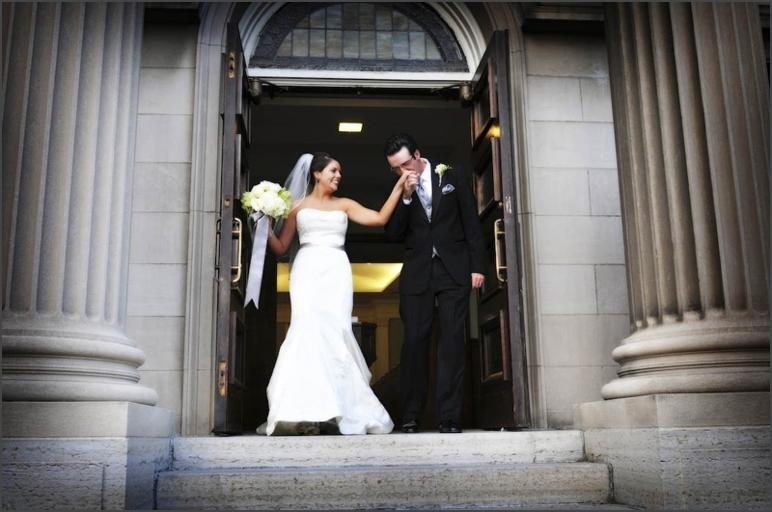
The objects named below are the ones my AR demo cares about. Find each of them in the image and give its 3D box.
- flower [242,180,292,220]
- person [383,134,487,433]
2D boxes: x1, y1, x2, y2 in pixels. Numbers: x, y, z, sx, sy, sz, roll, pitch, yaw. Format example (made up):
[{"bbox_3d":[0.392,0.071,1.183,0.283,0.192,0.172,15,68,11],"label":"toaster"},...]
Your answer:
[{"bbox_3d":[-0.921,-0.476,7.623,0.268,0.202,0.253,-2,5,-37],"label":"flower"},{"bbox_3d":[0.369,0.195,7.470,0.790,2.290,0.441,0,-8,6],"label":"person"}]
